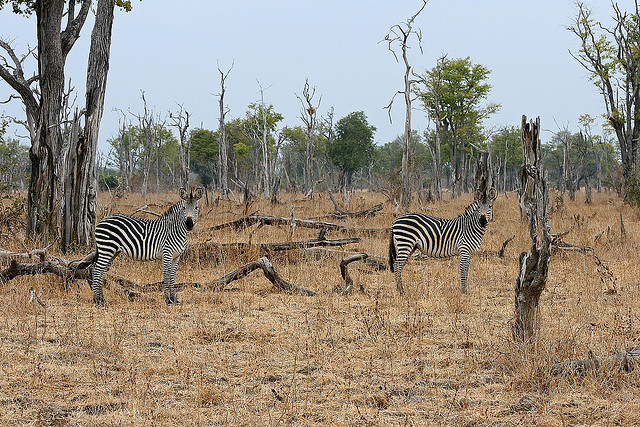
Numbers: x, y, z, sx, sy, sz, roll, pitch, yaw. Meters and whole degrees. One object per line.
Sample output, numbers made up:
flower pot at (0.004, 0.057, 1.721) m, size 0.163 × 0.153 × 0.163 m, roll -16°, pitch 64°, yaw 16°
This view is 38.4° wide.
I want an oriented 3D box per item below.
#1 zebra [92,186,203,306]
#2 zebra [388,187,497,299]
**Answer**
zebra at (-6.219, 1.026, 30.151) m, size 4.361 × 5.243 × 2.156 m, roll 1°, pitch -1°, yaw -3°
zebra at (4.019, 0.608, 31.554) m, size 4.228 × 5.256 × 2.038 m, roll 0°, pitch -1°, yaw 4°
